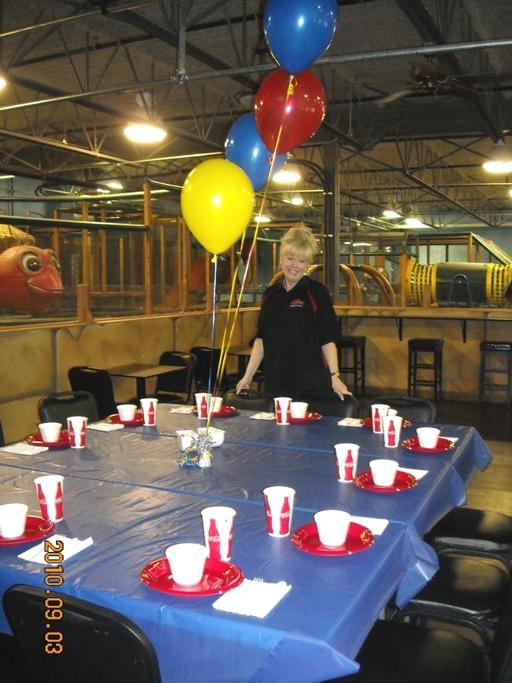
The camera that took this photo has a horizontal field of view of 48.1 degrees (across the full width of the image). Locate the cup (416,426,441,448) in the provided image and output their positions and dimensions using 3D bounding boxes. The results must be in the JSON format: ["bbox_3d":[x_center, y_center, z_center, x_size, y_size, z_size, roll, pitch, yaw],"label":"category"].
[{"bbox_3d":[0.692,0.387,2.311,0.082,0.058,0.086,1,-7,0],"label":"cup"}]

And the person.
[{"bbox_3d":[0.212,-0.155,3.342,0.663,1.000,0.435,0,4,5],"label":"person"}]

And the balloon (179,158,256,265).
[{"bbox_3d":[-0.197,-0.638,2.738,0.396,0.465,0.391,3,5,30],"label":"balloon"}]

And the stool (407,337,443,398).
[{"bbox_3d":[2.184,0.353,7.392,0.460,0.800,0.720,1,4,15],"label":"stool"}]

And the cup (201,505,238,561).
[{"bbox_3d":[-0.083,0.412,1.239,0.115,0.127,0.099,0,-7,-2],"label":"cup"}]

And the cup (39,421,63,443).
[{"bbox_3d":[-0.873,0.380,2.409,0.088,0.063,0.087,0,-7,0],"label":"cup"}]

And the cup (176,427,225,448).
[{"bbox_3d":[-0.243,0.373,2.221,0.145,0.049,0.100,-2,0,44],"label":"cup"}]

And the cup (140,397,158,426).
[{"bbox_3d":[-0.525,0.346,2.847,0.140,0.158,0.123,0,-6,-1],"label":"cup"}]

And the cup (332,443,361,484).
[{"bbox_3d":[0.291,0.401,1.870,0.119,0.127,0.110,1,-8,0],"label":"cup"}]

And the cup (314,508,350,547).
[{"bbox_3d":[0.175,0.429,1.331,0.077,0.084,0.101,1,4,8],"label":"cup"}]

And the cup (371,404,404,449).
[{"bbox_3d":[0.550,0.349,2.417,0.147,0.149,0.153,0,-9,0],"label":"cup"}]

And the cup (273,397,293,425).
[{"bbox_3d":[0.127,0.346,2.846,0.131,0.166,0.114,0,-4,3],"label":"cup"}]

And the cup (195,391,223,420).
[{"bbox_3d":[-0.239,0.320,2.882,0.153,0.125,0.160,0,-6,0],"label":"cup"}]

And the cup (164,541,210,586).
[{"bbox_3d":[-0.135,0.427,1.100,0.086,0.057,0.084,1,-4,0],"label":"cup"}]

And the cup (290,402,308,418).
[{"bbox_3d":[0.216,0.345,2.861,0.078,0.056,0.078,1,-7,0],"label":"cup"}]

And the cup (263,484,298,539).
[{"bbox_3d":[0.058,0.431,1.426,0.108,0.116,0.102,1,-13,0],"label":"cup"}]

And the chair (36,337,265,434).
[{"bbox_3d":[-0.979,0.383,4.753,0.739,0.749,1.251,6,13,28],"label":"chair"}]

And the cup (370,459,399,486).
[{"bbox_3d":[0.406,0.414,1.821,0.076,0.062,0.093,-6,-10,44],"label":"cup"}]
